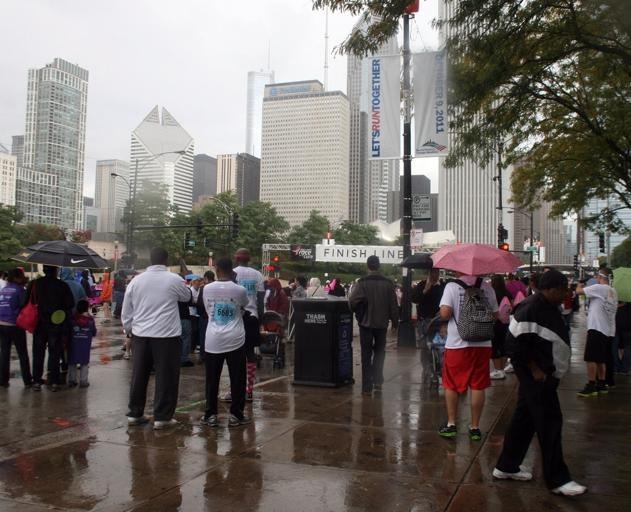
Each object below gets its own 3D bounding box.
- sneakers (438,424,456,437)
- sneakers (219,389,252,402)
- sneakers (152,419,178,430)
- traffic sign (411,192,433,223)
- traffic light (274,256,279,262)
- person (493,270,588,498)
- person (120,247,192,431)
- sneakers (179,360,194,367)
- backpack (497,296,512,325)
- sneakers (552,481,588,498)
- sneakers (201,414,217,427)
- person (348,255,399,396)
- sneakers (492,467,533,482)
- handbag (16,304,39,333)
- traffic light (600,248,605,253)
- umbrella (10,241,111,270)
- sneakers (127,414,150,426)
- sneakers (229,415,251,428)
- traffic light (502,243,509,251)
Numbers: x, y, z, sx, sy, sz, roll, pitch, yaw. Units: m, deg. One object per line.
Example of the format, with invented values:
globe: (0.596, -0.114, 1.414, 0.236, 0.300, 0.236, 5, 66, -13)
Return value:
sneakers: (1.730, 2.337, 9.992, 0.108, 0.129, 0.270, 0, 0, -30)
sneakers: (-1.266, 2.164, 11.834, 0.561, 0.249, 0.237, 3, -7, 4)
sneakers: (-2.040, 2.289, 10.260, 0.324, 0.154, 0.124, -6, 8, -44)
traffic sign: (2.735, -1.258, 19.497, 0.499, 0.673, 0.950, 2, 3, 7)
traffic light: (-1.885, 0.168, 36.301, 0.223, 0.278, 0.232, 6, 21, 17)
person: (2.510, 1.396, 8.504, 0.859, 2.485, 0.430, 2, 2, 14)
person: (-2.222, 1.108, 10.417, 0.887, 2.435, 0.677, 2, 2, 1)
sneakers: (-2.528, 2.157, 14.902, 0.313, 0.142, 0.115, 1, -2, -4)
backpack: (3.210, 0.956, 12.905, 0.310, 0.249, 0.511, -26, -29, 13)
sneakers: (2.787, 2.583, 8.316, 0.295, 0.131, 0.169, -10, -1, 11)
sneakers: (-1.461, 2.261, 10.362, 0.233, 0.150, 0.223, 2, 3, -2)
person: (0.956, 1.126, 12.515, 0.805, 2.210, 0.650, 2, 2, 9)
sneakers: (2.265, 2.537, 8.736, 0.437, 0.194, 0.167, -1, -3, 2)
handbag: (-4.699, 1.029, 12.338, 0.356, 0.445, 0.191, 17, -1, 28)
traffic light: (17.685, -0.306, 46.585, 0.231, 0.246, 0.232, 4, 11, 15)
umbrella: (-4.280, 0.007, 12.810, 1.381, 0.495, 1.558, 1, 3, -15)
sneakers: (-2.447, 2.285, 10.422, 0.308, 0.136, 0.112, -1, 3, -38)
sneakers: (-1.041, 2.286, 10.377, 0.113, 0.149, 0.316, 2, 2, 36)
traffic light: (8.057, -0.377, 32.120, 0.317, 0.348, 0.352, -3, -9, 3)
